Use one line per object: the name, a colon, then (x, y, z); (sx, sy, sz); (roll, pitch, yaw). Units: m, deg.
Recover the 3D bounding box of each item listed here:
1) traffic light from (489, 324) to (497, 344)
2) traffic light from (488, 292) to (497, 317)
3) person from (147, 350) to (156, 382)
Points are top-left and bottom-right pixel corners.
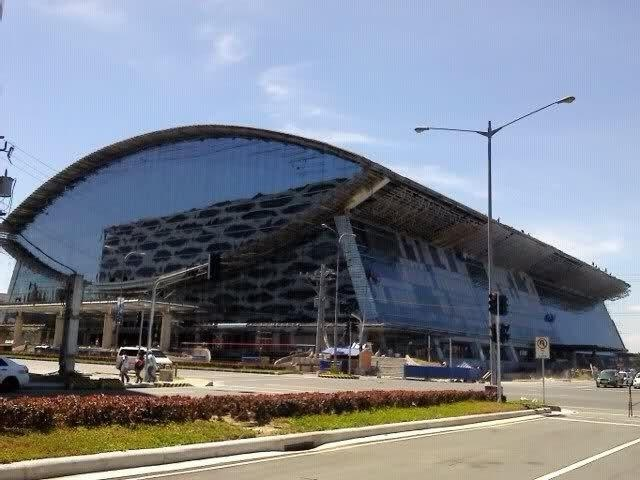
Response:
traffic light: (8.626, 4.655, 26.821); (0.338, 0.900, 1.080); (-7, -18, 16)
traffic light: (8.478, 3.114, 26.468); (0.448, 1.009, 1.021); (-7, -18, 17)
person: (-9.975, 7.490, 31.907); (0.581, 1.825, 1.301); (4, -19, -16)
